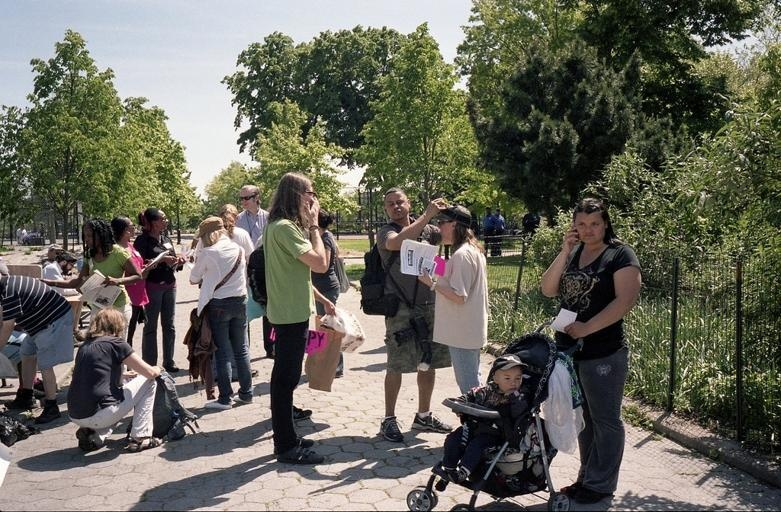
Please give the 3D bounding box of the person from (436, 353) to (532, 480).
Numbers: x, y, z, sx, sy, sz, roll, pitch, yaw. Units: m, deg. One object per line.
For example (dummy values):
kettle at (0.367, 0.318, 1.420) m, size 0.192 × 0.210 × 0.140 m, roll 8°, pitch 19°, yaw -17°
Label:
person at (0.976, 1.736, 7.205) m, size 1.090 × 1.333 × 0.761 m, roll 2°, pitch 7°, yaw -41°

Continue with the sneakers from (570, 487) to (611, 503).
sneakers at (2.218, 2.643, 7.340) m, size 0.346 × 0.139 × 0.179 m, roll 6°, pitch 3°, yaw -6°

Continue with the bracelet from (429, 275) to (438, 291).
bracelet at (0.561, 0.357, 8.607) m, size 0.178 × 0.171 × 0.164 m, roll -2°, pitch 0°, yaw -2°

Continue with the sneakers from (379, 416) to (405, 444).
sneakers at (0.011, 2.268, 8.743) m, size 0.388 × 0.288 × 0.264 m, roll 4°, pitch 14°, yaw 18°

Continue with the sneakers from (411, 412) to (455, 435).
sneakers at (0.555, 2.270, 8.965) m, size 0.602 × 0.281 × 0.222 m, roll 2°, pitch -2°, yaw 1°

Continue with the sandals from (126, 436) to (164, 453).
sandals at (-3.165, 2.443, 8.656) m, size 0.405 × 0.173 × 0.175 m, roll -1°, pitch 6°, yaw -33°

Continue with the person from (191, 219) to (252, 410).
person at (-2.483, 0.846, 9.814) m, size 0.796 × 2.715 × 0.864 m, roll -4°, pitch 14°, yaw -15°

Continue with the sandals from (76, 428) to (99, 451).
sandals at (-3.859, 2.361, 8.521) m, size 0.225 × 0.329 × 0.186 m, roll -9°, pitch 14°, yaw 1°

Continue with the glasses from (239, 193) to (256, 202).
glasses at (-2.396, -0.982, 11.222) m, size 0.258 × 0.108 × 0.121 m, roll -2°, pitch 13°, yaw -7°

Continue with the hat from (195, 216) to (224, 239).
hat at (-2.672, -0.423, 9.924) m, size 0.372 × 0.196 × 0.267 m, roll -7°, pitch 7°, yaw -1°

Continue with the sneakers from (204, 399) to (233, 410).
sneakers at (-2.513, 2.208, 9.836) m, size 0.405 × 0.164 × 0.153 m, roll 5°, pitch -10°, yaw 4°

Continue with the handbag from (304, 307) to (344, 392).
handbag at (-0.913, 1.299, 9.174) m, size 0.526 × 1.217 × 1.268 m, roll 0°, pitch 11°, yaw -5°

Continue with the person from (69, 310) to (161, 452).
person at (-3.573, 1.609, 8.596) m, size 1.099 × 1.755 × 0.677 m, roll -3°, pitch 14°, yaw -9°

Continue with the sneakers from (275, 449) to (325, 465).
sneakers at (-1.110, 2.432, 8.108) m, size 0.548 × 0.221 × 0.222 m, roll 0°, pitch -1°, yaw -4°

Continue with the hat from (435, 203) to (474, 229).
hat at (0.860, -0.522, 8.623) m, size 0.368 × 0.188 × 0.260 m, roll 22°, pitch 10°, yaw 5°

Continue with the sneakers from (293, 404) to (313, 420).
sneakers at (-1.249, 2.220, 9.392) m, size 0.340 × 0.114 × 0.123 m, roll 5°, pitch 5°, yaw 36°

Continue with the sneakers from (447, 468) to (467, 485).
sneakers at (0.708, 2.331, 7.025) m, size 0.254 × 0.213 × 0.135 m, roll 0°, pitch 13°, yaw 1°

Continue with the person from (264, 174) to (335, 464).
person at (-1.136, 0.761, 8.209) m, size 0.733 × 3.454 × 1.089 m, roll -3°, pitch 14°, yaw -8°
